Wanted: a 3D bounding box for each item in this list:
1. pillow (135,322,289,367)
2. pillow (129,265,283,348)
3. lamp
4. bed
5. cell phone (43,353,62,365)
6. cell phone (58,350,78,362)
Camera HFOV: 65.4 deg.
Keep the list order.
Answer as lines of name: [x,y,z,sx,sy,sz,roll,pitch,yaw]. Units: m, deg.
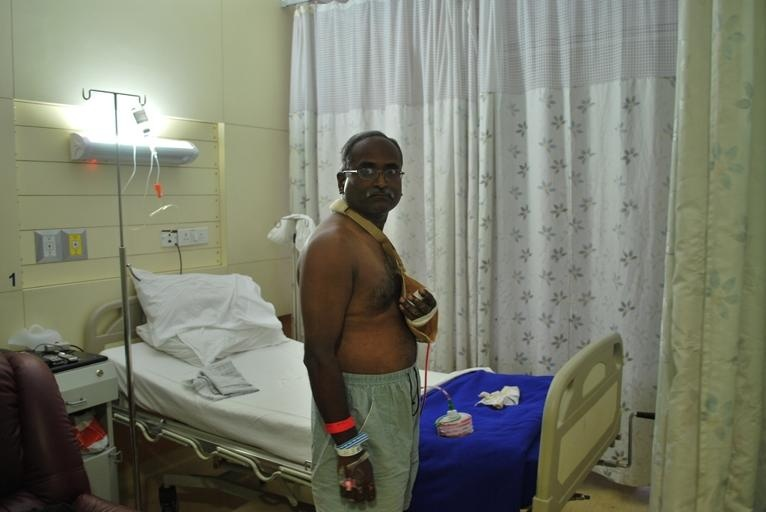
pillow: [-1.105,0.586,3.897,0.783,0.185,0.853,-11,-19,39]
pillow: [-1.138,0.297,3.807,0.625,0.175,0.572,1,40,-35]
lamp: [-1.504,-0.659,3.752,0.851,0.180,0.194,-6,3,-42]
bed: [-0.122,0.732,3.131,2.270,0.881,1.220,3,6,25]
cell phone: [-1.749,0.543,3.155,0.095,0.024,0.054,8,5,34]
cell phone: [-1.697,0.536,3.207,0.102,0.015,0.057,8,4,41]
